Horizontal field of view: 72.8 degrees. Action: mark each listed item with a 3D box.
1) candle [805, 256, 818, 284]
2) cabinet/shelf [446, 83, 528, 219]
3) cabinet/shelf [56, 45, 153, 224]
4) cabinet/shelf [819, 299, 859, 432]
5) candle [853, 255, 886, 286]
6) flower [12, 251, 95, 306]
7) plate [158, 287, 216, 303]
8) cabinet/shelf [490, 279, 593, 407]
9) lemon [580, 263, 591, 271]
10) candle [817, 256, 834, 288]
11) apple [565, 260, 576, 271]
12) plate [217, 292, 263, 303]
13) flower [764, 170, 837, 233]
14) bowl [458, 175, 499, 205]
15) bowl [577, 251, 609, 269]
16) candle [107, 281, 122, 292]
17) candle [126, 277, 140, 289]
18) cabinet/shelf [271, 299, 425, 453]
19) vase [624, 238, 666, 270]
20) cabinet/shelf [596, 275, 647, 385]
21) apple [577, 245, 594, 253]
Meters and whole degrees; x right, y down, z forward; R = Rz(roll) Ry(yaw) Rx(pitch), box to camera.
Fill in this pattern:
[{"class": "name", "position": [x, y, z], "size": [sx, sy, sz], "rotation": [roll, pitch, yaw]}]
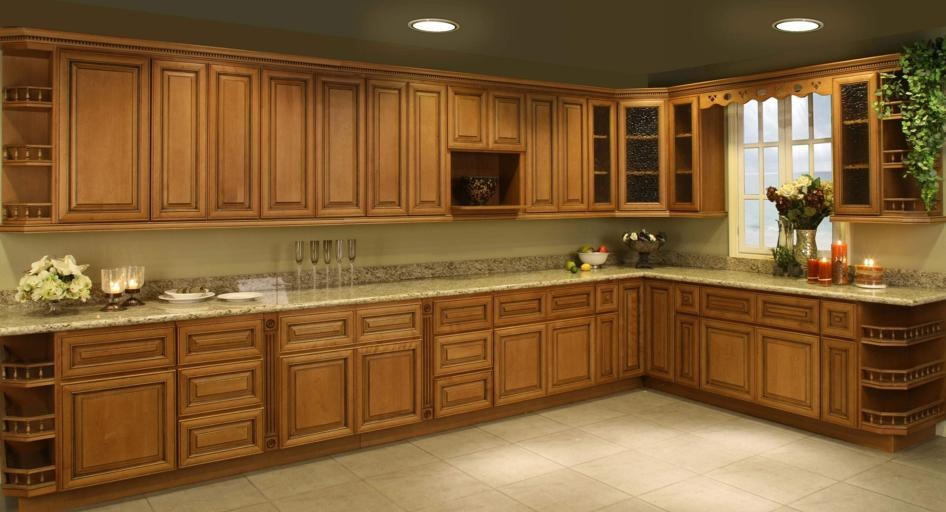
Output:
[{"class": "candle", "position": [3.590, 0.167, 6.774], "size": [0.087, 0.243, 0.093], "rotation": [-2, 10, 8]}, {"class": "cabinet/shelf", "position": [0.117, -1.134, 7.164], "size": [0.993, 1.431, 0.494], "rotation": [-10, 12, -39]}, {"class": "cabinet/shelf", "position": [-3.345, -1.061, 5.811], "size": [0.874, 1.517, 0.185], "rotation": [-5, 10, -16]}, {"class": "cabinet/shelf", "position": [3.666, 1.072, 6.412], "size": [0.372, 1.225, 0.216], "rotation": [2, 11, 29]}, {"class": "candle", "position": [4.103, 0.189, 6.619], "size": [0.259, 0.275, 0.231], "rotation": [3, 10, 31]}, {"class": "flower", "position": [-3.758, 0.218, 5.848], "size": [0.656, 0.334, 0.546], "rotation": [2, -3, -7]}, {"class": "plate", "position": [-2.751, 0.386, 6.165], "size": [0.479, 0.111, 0.286], "rotation": [-3, 7, -14]}, {"class": "cabinet/shelf", "position": [0.711, 0.935, 7.078], "size": [1.980, 1.239, 0.612], "rotation": [-1, 3, -27]}, {"class": "lemon", "position": [1.360, 0.146, 7.771], "size": [0.112, 0.060, 0.095], "rotation": [0, 0, -32]}, {"class": "candle", "position": [3.671, 0.177, 6.687], "size": [0.118, 0.263, 0.107], "rotation": [-2, 10, 9]}, {"class": "apple", "position": [1.197, 0.122, 7.727], "size": [0.140, 0.120, 0.119], "rotation": [2, 19, 15]}, {"class": "plate", "position": [-2.286, 0.403, 6.237], "size": [0.431, 0.057, 0.182], "rotation": [0, 7, 9]}, {"class": "flower", "position": [3.720, -0.569, 7.115], "size": [0.867, 0.541, 0.654], "rotation": [3, -2, -19]}, {"class": "bowl", "position": [0.069, -0.729, 7.262], "size": [0.479, 0.234, 0.395], "rotation": [0, 3, -7]}, {"class": "bowl", "position": [1.482, 0.052, 7.876], "size": [0.343, 0.216, 0.299], "rotation": [-2, 8, -2]}, {"class": "candle", "position": [-3.257, 0.287, 5.833], "size": [0.120, 0.062, 0.106], "rotation": [-2, 5, -28]}, {"class": "candle", "position": [-3.143, 0.255, 5.950], "size": [0.124, 0.101, 0.126], "rotation": [6, 6, 44]}, {"class": "cabinet/shelf", "position": [-1.286, 1.157, 6.274], "size": [2.148, 1.264, 0.660], "rotation": [0, -1, -25]}, {"class": "vase", "position": [2.149, -0.013, 8.098], "size": [0.507, 0.278, 0.419], "rotation": [2, -5, -27]}, {"class": "cabinet/shelf", "position": [1.730, 0.867, 7.527], "size": [0.762, 1.165, 0.187], "rotation": [-9, 11, -34]}, {"class": "apple", "position": [1.392, -0.071, 7.961], "size": [0.181, 0.105, 0.088], "rotation": [-24, -16, -44]}]
